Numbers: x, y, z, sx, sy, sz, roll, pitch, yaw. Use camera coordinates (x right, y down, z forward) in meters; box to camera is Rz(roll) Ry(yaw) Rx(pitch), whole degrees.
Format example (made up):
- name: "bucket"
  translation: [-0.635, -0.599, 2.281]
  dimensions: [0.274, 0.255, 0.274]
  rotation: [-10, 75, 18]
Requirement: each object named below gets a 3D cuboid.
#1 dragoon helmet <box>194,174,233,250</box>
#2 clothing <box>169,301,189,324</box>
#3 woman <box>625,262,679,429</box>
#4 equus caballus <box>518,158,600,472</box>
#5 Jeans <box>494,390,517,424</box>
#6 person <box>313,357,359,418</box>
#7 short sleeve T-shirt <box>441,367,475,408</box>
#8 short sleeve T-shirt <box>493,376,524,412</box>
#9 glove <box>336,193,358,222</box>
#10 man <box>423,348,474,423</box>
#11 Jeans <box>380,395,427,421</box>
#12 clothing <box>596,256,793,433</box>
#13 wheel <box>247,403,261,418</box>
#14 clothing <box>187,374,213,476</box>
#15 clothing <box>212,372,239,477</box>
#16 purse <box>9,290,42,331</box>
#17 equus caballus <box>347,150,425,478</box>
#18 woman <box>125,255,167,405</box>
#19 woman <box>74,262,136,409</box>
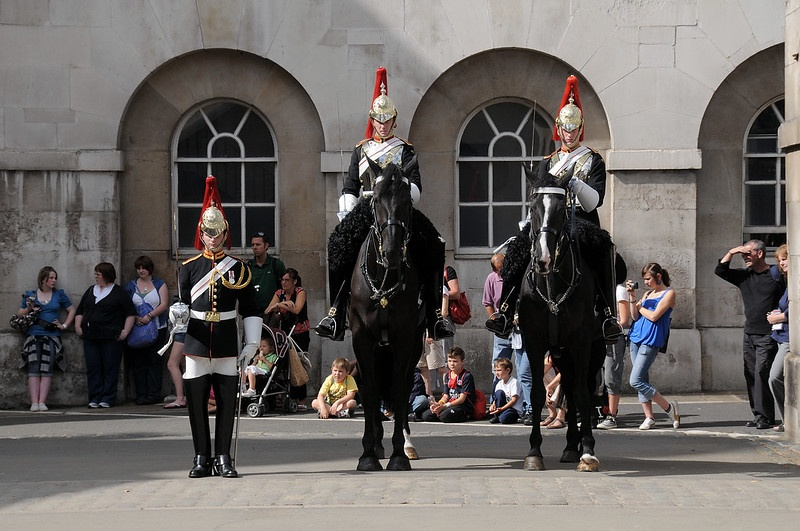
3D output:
- name: "dragoon helmet"
  translation: [-2.474, -0.712, 20.603]
  dimensions: [0.536, 1.001, 0.264]
  rotation: [-8, -17, 6]
- name: "clothing"
  translation: [-2.870, 0.596, 20.209]
  dimensions: [0.234, 0.257, 0.227]
  rotation: [3, -46, -4]
- name: "woman"
  translation: [3.828, 1.189, 23.314]
  dimensions: [0.749, 2.470, 0.896]
  rotation: [-1, -2, 9]
- name: "equus caballus"
  translation: [2.102, 0.665, 20.418]
  dimensions: [0.874, 4.025, 1.338]
  rotation: [-2, -2, 29]
- name: "Jeans"
  translation: [1.636, 2.156, 23.604]
  dimensions: [0.395, 0.527, 0.357]
  rotation: [-15, -21, 40]
- name: "person"
  translation: [-0.994, 1.900, 24.106]
  dimensions: [0.702, 0.871, 0.800]
  rotation: [0, 1, 12]
- name: "short sleeve T-shirt"
  translation: [0.903, 1.870, 23.751]
  dimensions: [0.589, 0.559, 0.339]
  rotation: [-6, -14, 34]
- name: "short sleeve T-shirt"
  translation: [1.687, 1.955, 23.609]
  dimensions: [0.585, 0.500, 0.318]
  rotation: [-6, -15, 40]
- name: "glove"
  translation: [-0.684, -0.804, 21.229]
  dimensions: [0.094, 0.328, 0.353]
  rotation: [15, -13, -23]
- name: "man"
  translation: [0.737, 1.833, 23.790]
  dimensions: [0.816, 1.066, 0.822]
  rotation: [-2, 2, 23]
- name: "Jeans"
  translation: [-0.029, 2.174, 23.830]
  dimensions: [0.909, 0.363, 0.320]
  rotation: [-10, -13, 32]
- name: "clothing"
  translation: [4.480, 1.258, 23.651]
  dimensions: [2.281, 2.378, 0.993]
  rotation: [-10, -26, 31]
- name: "wheel"
  translation: [-2.239, 2.224, 23.982]
  dimensions: [0.253, 0.224, 0.104]
  rotation: [-4, -1, 9]
- name: "clothing"
  translation: [-2.623, 2.086, 20.298]
  dimensions: [0.337, 1.307, 0.300]
  rotation: [-1, -2, -15]
- name: "clothing"
  translation: [-2.278, 2.081, 20.296]
  dimensions: [0.333, 1.315, 0.352]
  rotation: [-1, -2, -6]
- name: "purse"
  translation: [-5.988, 0.755, 25.084]
  dimensions: [0.447, 0.568, 0.242]
  rotation: [26, 9, 18]
- name: "equus caballus"
  translation: [-0.088, 0.633, 20.440]
  dimensions: [0.932, 4.096, 1.153]
  rotation: [0, -2, -22]
- name: "woman"
  translation: [-4.188, 0.994, 25.423]
  dimensions: [0.794, 2.256, 0.719]
  rotation: [-1, 0, -2]
- name: "woman"
  translation: [-4.765, 1.114, 25.132]
  dimensions: [0.949, 2.325, 0.319]
  rotation: [-1, -2, -11]
